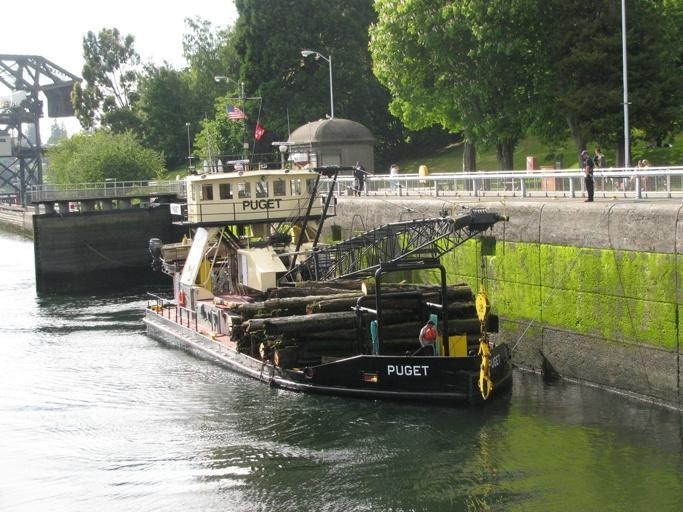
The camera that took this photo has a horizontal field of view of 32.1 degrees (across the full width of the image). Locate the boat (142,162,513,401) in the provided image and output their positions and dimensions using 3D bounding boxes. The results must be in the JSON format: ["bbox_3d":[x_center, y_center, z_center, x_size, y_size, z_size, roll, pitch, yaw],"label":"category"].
[{"bbox_3d":[-0.720,0.946,57.607,9.243,10.891,19.967,-2,1,-37],"label":"boat"}]

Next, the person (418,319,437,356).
[{"bbox_3d":[3.834,3.581,52.402,0.807,1.496,0.564,-1,1,-20],"label":"person"}]
